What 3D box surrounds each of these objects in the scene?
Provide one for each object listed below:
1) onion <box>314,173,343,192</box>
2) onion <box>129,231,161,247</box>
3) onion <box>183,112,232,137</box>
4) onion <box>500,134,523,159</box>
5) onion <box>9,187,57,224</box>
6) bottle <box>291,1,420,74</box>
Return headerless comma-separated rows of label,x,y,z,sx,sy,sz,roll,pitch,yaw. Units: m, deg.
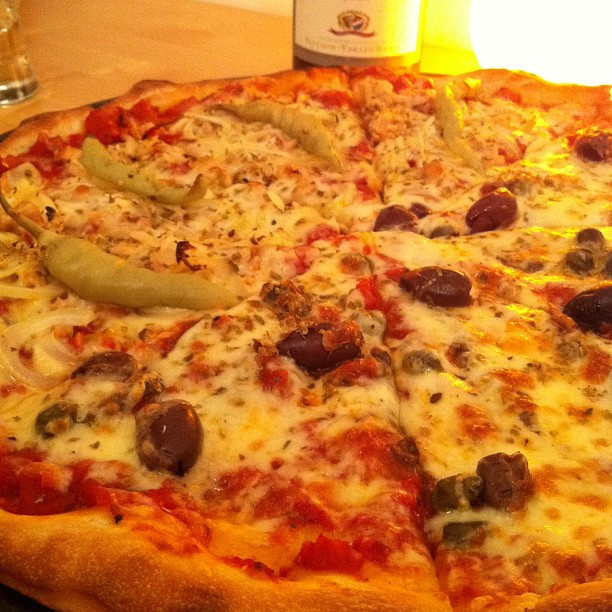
onion,0.075,-0.443,2.439,0.073,0.026,0.092,43,73,14
onion,-0.489,-0.200,2.057,0.110,0.025,0.023,21,73,14
onion,-0.382,-0.743,2.749,0.172,0.038,0.162,18,32,23
onion,0.813,-0.630,2.689,0.079,0.029,0.109,-13,67,-53
onion,-0.854,-0.321,2.146,0.162,0.040,0.132,18,29,-32
bottle,0.192,-1.193,3.042,0.415,0.364,0.361,19,63,9
